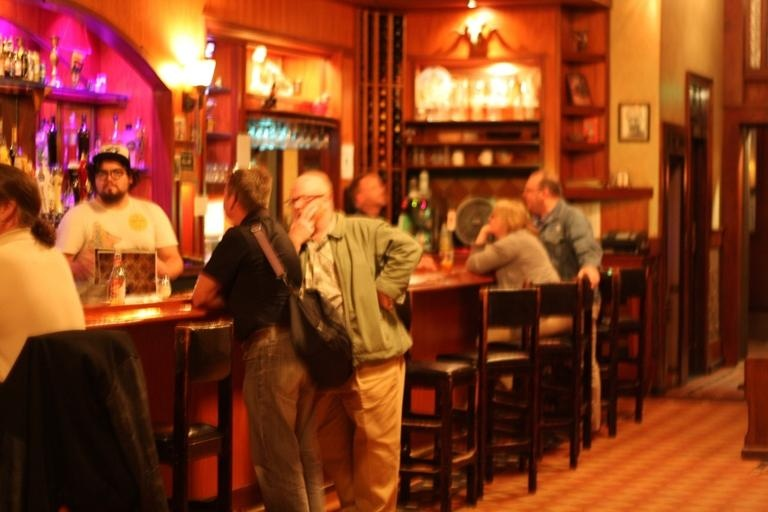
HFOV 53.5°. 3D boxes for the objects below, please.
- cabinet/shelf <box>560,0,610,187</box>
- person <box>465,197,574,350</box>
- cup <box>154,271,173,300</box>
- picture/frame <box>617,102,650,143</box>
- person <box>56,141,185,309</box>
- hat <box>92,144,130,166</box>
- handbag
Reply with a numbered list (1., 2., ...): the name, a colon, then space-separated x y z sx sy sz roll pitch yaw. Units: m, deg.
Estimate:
1. cabinet/shelf: 2.393 -1.944 9.077 0.582 2.151 0.378 1 3 13
2. person: 1.049 0.050 6.135 0.770 1.018 0.787 -7 11 -26
3. cup: -1.296 0.186 4.520 0.127 0.197 0.126 0 2 0
4. picture/frame: 2.906 -1.554 8.812 0.450 0.592 0.042 -1 1 23
5. person: -1.941 -0.123 5.510 0.954 1.346 0.792 -3 -3 -42
6. hat: -1.884 -0.722 5.295 0.208 0.146 0.282 -1 3 -32
7. handbag: -0.297 0.409 3.969 0.303 0.482 0.179 -17 9 47
